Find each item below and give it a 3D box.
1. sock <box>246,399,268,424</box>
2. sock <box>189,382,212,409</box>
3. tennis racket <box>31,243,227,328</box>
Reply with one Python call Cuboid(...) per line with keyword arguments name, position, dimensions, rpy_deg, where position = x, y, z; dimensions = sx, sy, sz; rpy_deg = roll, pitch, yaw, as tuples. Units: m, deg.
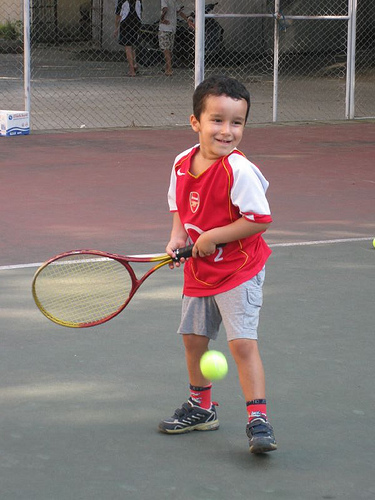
Cuboid(name="sock", position=(0.207, 0.474, 2.017), dimensions=(0.058, 0.072, 0.075), rpy_deg=(0, 11, 1))
Cuboid(name="sock", position=(0.046, 0.479, 2.224), dimensions=(0.067, 0.085, 0.086), rpy_deg=(-1, 3, -6))
Cuboid(name="tennis racket", position=(-0.162, 0.058, 2.632), dimensions=(0.072, 0.278, 1.047), rpy_deg=(-28, -5, 42))
